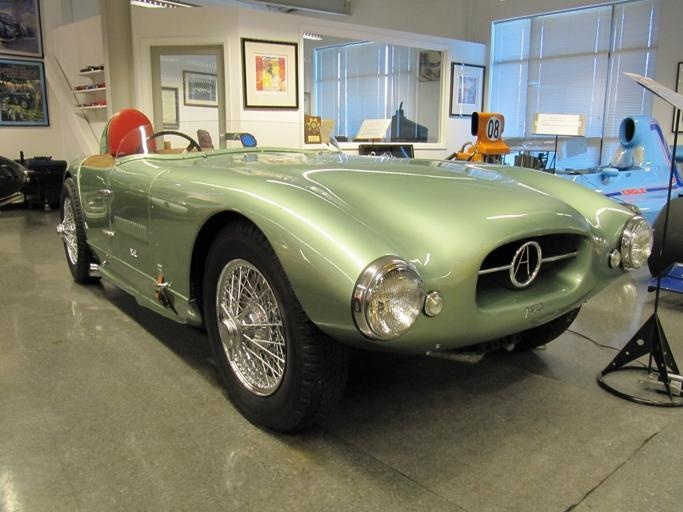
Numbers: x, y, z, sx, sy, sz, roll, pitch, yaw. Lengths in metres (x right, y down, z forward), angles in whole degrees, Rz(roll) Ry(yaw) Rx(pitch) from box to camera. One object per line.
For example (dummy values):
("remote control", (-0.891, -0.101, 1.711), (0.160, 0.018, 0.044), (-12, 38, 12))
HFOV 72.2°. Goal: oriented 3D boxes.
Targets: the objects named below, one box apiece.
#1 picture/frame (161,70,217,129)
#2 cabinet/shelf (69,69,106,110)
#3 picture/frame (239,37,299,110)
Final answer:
("picture/frame", (-2.361, -2.410, 7.155), (0.973, 1.143, 0.084), (1, -5, -20))
("cabinet/shelf", (-4.449, -2.945, 8.240), (0.785, 0.844, 0.272), (7, 7, 36))
("picture/frame", (-1.171, -2.868, 7.296), (1.092, 1.241, 0.043), (-3, 6, -39))
